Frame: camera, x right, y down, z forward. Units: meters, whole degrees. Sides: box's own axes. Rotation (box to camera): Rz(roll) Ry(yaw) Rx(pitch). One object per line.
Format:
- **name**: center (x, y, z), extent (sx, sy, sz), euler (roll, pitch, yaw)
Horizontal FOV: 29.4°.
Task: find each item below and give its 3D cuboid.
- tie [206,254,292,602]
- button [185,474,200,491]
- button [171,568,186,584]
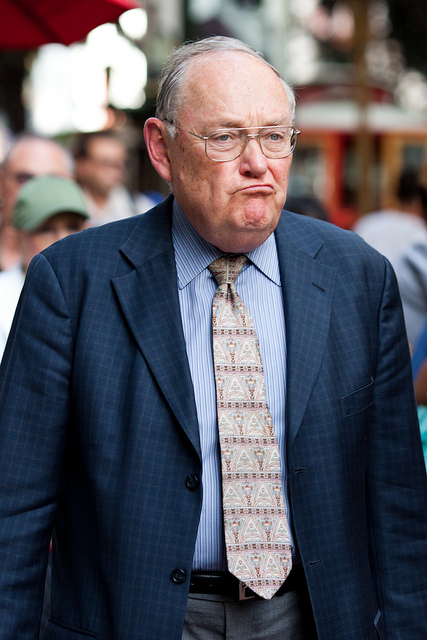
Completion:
- **tie**: center (0.078, 0.234, 1.785), extent (0.165, 0.049, 0.682), euler (-3, 77, -15)
- **button**: center (-0.046, 0.349, 1.754), extent (0.037, 0.010, 0.034), euler (-5, 86, 14)
- **button**: center (-0.077, 0.541, 1.729), extent (0.030, 0.022, 0.023), euler (-26, 43, -15)
